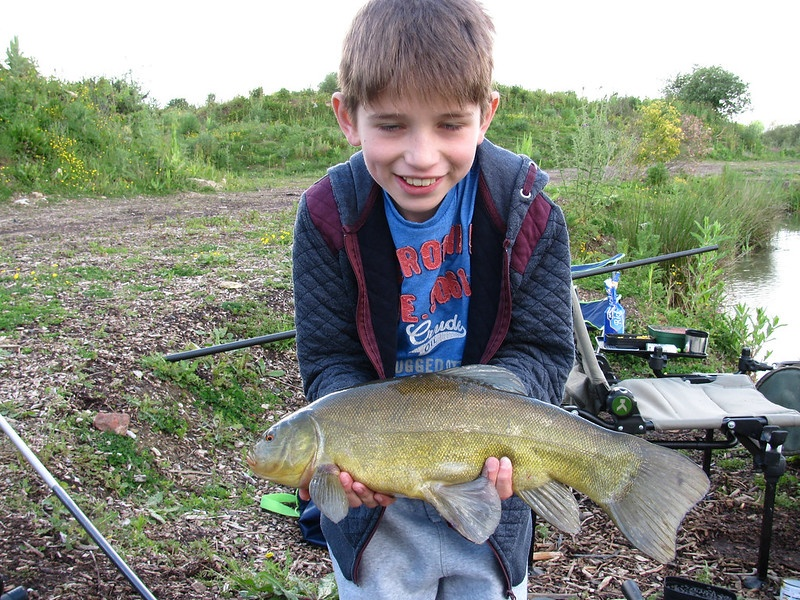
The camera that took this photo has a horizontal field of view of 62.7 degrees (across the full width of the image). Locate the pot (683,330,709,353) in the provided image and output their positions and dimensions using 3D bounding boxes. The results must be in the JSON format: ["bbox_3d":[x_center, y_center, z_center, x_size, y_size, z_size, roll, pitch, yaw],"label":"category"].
[{"bbox_3d":[2.457,0.357,5.481,0.195,0.181,0.168,2,3,26],"label":"pot"}]
